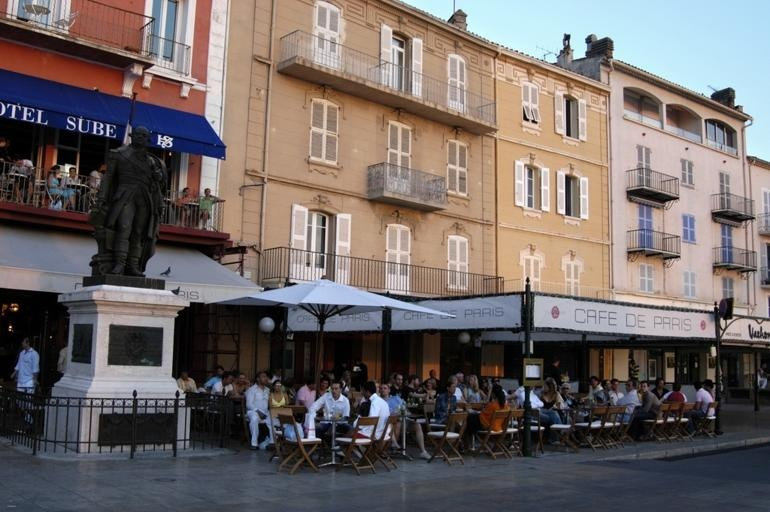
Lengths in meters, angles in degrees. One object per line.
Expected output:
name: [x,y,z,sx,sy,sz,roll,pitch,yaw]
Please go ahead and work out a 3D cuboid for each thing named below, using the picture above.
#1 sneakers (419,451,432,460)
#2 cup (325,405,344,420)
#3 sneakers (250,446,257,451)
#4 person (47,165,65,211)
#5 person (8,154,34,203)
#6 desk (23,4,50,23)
sneakers: [1.034,5.363,28.674,0.151,0.120,0.291,4,-11,-42]
cup: [-1.342,4.100,27.911,0.306,0.279,0.297,1,-13,0]
sneakers: [-3.583,5.153,28.814,0.161,0.104,0.209,3,-12,-8]
person: [-10.027,-2.102,32.394,0.553,1.471,0.566,3,-12,-7]
person: [-11.006,-2.386,32.247,0.658,1.426,0.883,6,-13,-19]
desk: [-10.737,-7.625,32.818,0.766,0.676,0.877,5,-13,-18]
